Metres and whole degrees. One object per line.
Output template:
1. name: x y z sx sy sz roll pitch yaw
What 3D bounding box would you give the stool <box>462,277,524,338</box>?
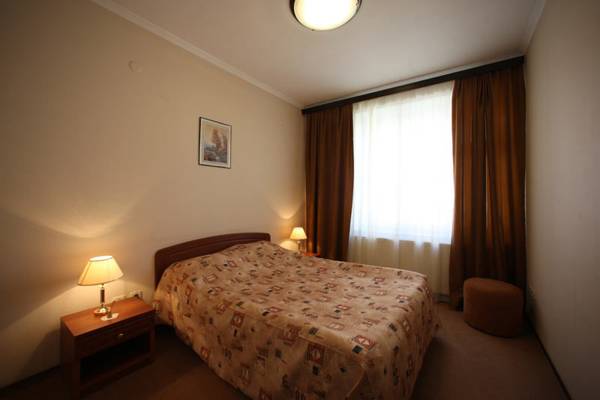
1. stool: 2.486 1.315 5.167 0.609 0.604 0.643 1 2 28

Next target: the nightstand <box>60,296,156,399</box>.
1. nightstand: -2.136 1.551 4.660 0.762 1.074 1.174 0 1 38
